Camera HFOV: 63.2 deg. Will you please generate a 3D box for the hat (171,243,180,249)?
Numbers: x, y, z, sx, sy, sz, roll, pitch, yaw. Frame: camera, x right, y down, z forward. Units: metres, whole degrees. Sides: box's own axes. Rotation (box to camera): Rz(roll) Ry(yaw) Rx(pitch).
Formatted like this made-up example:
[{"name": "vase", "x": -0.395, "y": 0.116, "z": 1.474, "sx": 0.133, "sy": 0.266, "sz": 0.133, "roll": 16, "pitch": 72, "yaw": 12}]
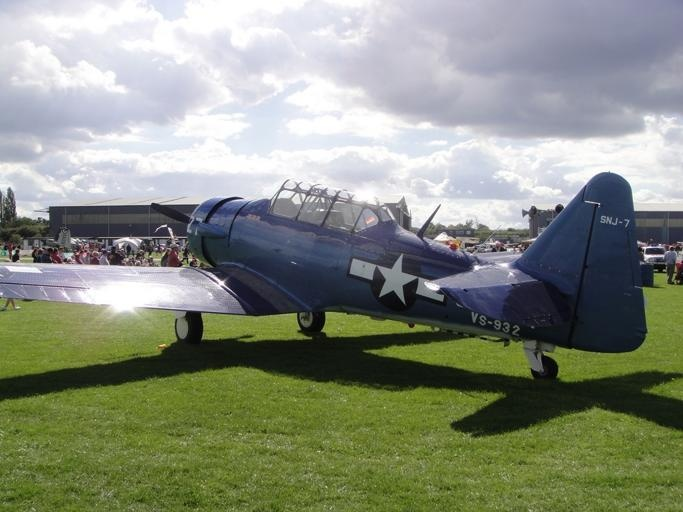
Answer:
[{"name": "hat", "x": -5.507, "y": -0.308, "z": 18.152, "sx": 0.347, "sy": 0.139, "sz": 0.358, "roll": 6, "pitch": 5, "yaw": 44}]
